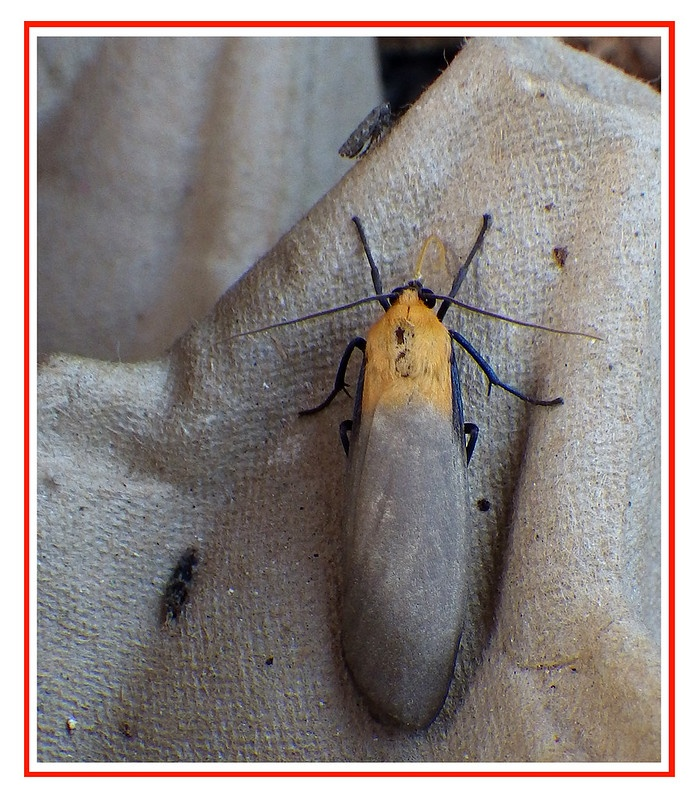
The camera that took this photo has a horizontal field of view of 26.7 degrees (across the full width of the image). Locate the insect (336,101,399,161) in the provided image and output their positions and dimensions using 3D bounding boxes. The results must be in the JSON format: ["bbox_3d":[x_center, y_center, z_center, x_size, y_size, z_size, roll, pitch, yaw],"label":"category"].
[{"bbox_3d":[0.026,-0.365,2.024,0.089,0.027,0.055,-56,28,0],"label":"insect"}]
